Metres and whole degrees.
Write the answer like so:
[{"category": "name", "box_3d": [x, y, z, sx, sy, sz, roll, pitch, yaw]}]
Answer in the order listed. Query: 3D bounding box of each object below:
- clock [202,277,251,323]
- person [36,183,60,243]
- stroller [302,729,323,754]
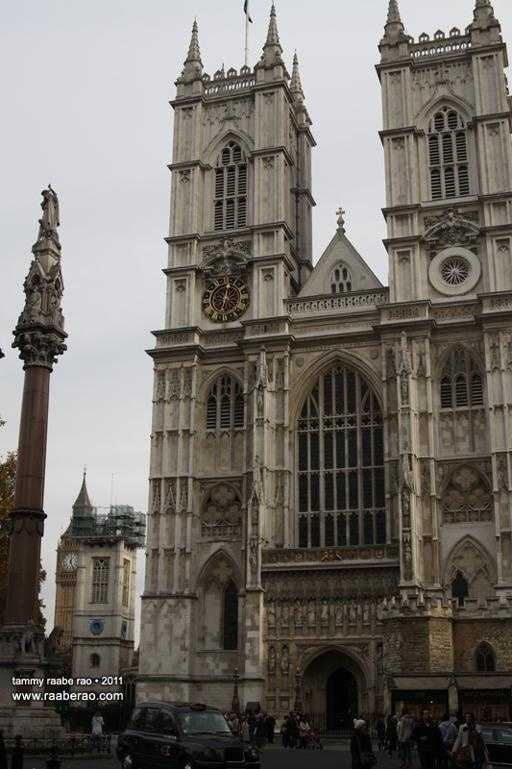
[{"category": "clock", "box_3d": [-1.380, -3.962, 57.130, 2.200, 2.125, 0.211, -10, -29, 16]}, {"category": "person", "box_3d": [-7.261, -5.914, 42.202, 0.662, 2.198, 1.081, 3, -16, -10]}, {"category": "stroller", "box_3d": [1.812, 11.983, 40.903, 0.688, 0.752, 1.247, 0, -16, 1]}]
